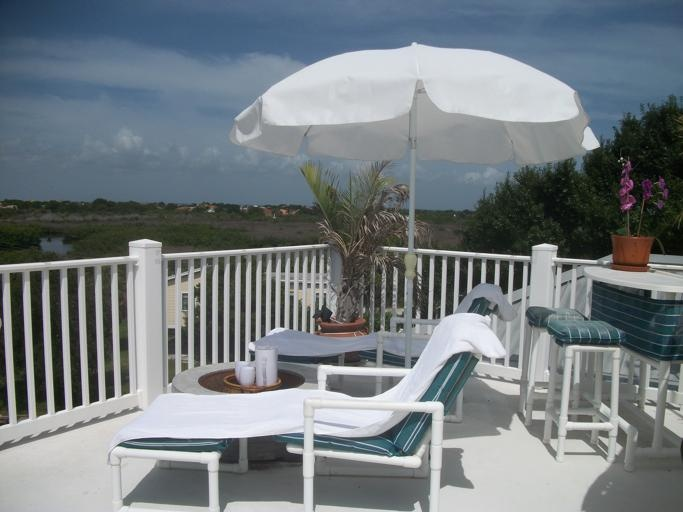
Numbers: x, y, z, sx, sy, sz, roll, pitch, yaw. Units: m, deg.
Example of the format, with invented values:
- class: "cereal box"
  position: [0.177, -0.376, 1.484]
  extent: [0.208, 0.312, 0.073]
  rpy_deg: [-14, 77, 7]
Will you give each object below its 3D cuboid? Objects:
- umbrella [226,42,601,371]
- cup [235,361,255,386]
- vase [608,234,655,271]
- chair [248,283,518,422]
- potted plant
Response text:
- class: "umbrella"
  position: [0.601, -0.421, 6.110]
  extent: [2.795, 2.565, 2.067]
  rpy_deg: [-1, 3, -6]
- class: "cup"
  position: [-0.755, 0.926, 5.687]
  extent: [0.122, 0.194, 0.176]
  rpy_deg: [-1, -3, -2]
- class: "vase"
  position: [2.508, -0.033, 6.193]
  extent: [0.283, 0.269, 0.305]
  rpy_deg: [2, -1, 6]
- class: "chair"
  position: [0.402, 0.755, 6.529]
  extent: [2.016, 1.305, 1.165]
  rpy_deg: [1, 1, 13]
- class: "potted plant"
  position: [0.014, 0.004, 8.362]
  extent: [1.486, 2.423, 1.523]
  rpy_deg: [1, -1, -32]
